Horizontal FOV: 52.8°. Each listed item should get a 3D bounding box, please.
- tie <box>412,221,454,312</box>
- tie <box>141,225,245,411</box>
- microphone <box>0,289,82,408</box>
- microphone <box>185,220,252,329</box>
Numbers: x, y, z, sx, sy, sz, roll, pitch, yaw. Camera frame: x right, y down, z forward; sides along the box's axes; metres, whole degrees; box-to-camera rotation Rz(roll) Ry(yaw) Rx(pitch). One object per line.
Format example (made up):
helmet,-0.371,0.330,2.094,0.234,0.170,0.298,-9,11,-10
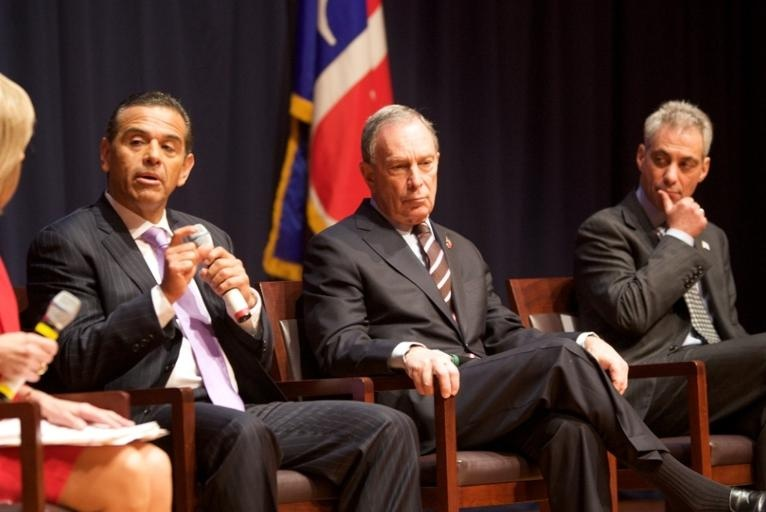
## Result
tie,0.184,0.000,2.980,0.082,0.473,0.055,8,-45,-24
tie,-0.607,0.215,2.445,0.123,0.595,0.131,-34,-12,33
microphone,-0.880,0.229,1.977,0.174,0.274,0.190,1,-3,-28
microphone,-0.522,0.054,2.491,0.209,0.321,0.269,0,-3,-3
